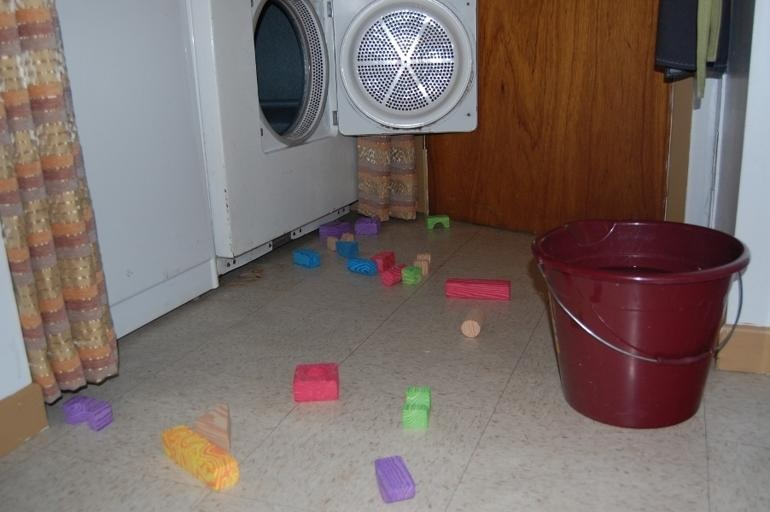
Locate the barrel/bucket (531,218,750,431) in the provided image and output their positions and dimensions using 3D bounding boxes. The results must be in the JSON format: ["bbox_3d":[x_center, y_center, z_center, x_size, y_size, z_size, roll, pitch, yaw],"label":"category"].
[{"bbox_3d":[0.650,0.137,1.700,0.569,0.500,0.595,-5,17,1],"label":"barrel/bucket"}]
